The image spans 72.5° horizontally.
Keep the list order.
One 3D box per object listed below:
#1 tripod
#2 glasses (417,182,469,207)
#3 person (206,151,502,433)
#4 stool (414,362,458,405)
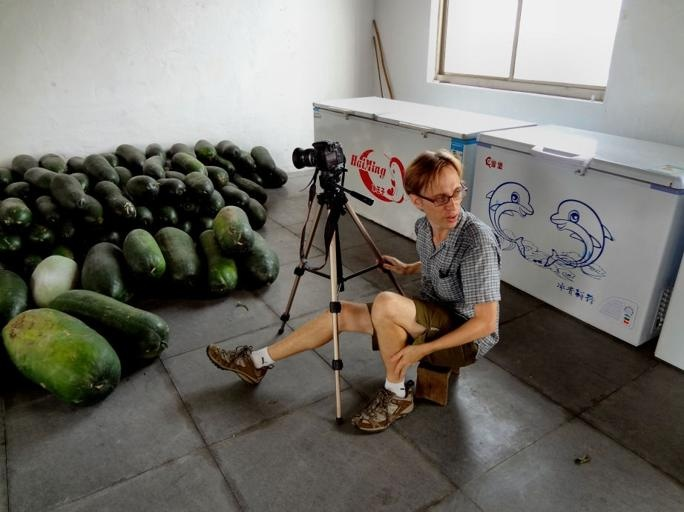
[{"bbox_3d":[-0.016,0.386,3.351,0.945,1.367,0.750,-23,42,-25],"label":"tripod"},{"bbox_3d":[0.530,-0.305,2.431,0.164,0.052,0.163,-33,29,-24],"label":"glasses"},{"bbox_3d":[0.133,0.165,2.699,1.557,1.540,0.892,0,14,-14],"label":"person"},{"bbox_3d":[0.555,0.817,2.946,0.179,0.204,0.315,2,-19,13],"label":"stool"}]
